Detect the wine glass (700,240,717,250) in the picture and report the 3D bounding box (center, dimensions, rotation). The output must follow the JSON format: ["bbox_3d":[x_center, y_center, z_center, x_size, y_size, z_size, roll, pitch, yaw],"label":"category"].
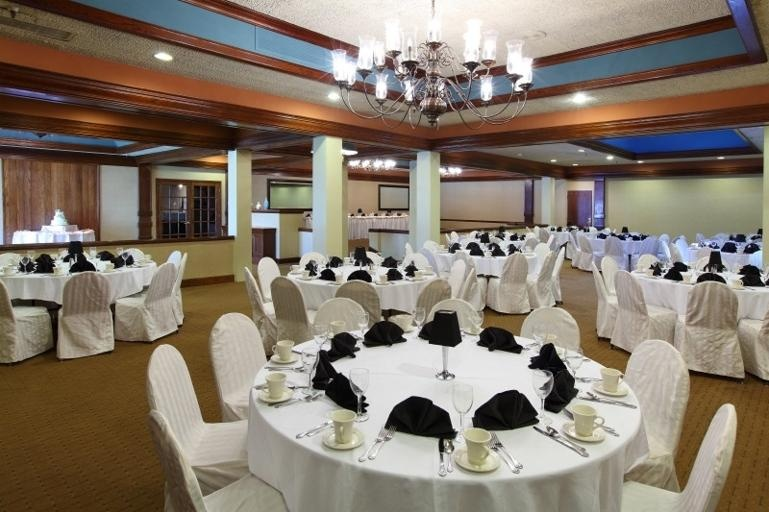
[{"bbox_3d":[7.468,-0.231,10.944,0.288,0.119,0.358,1,3,26],"label":"wine glass"}]

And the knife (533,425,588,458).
[{"bbox_3d":[0.995,1.031,2.656,0.090,0.020,0.297,-10,10,-30],"label":"knife"}]

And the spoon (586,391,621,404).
[{"bbox_3d":[1.391,0.905,3.000,0.037,0.040,0.269,-1,-5,-13],"label":"spoon"}]

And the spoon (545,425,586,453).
[{"bbox_3d":[1.011,1.032,2.647,0.068,0.014,0.253,-12,9,-22],"label":"spoon"}]

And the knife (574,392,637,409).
[{"bbox_3d":[1.382,0.915,2.977,0.425,0.041,0.114,4,10,11],"label":"knife"}]

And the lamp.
[{"bbox_3d":[0.550,-1.986,5.134,2.018,1.513,2.026,4,11,11],"label":"lamp"}]

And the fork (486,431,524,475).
[{"bbox_3d":[0.652,1.070,2.575,0.067,0.036,0.239,-1,22,-15],"label":"fork"}]

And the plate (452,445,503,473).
[{"bbox_3d":[0.496,1.090,2.521,0.242,0.055,0.135,2,14,5],"label":"plate"}]

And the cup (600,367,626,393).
[{"bbox_3d":[1.476,0.810,3.089,0.127,0.123,0.154,-1,-2,5],"label":"cup"}]

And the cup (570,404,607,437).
[{"bbox_3d":[1.154,0.937,2.737,0.197,0.147,0.136,2,3,44],"label":"cup"}]
